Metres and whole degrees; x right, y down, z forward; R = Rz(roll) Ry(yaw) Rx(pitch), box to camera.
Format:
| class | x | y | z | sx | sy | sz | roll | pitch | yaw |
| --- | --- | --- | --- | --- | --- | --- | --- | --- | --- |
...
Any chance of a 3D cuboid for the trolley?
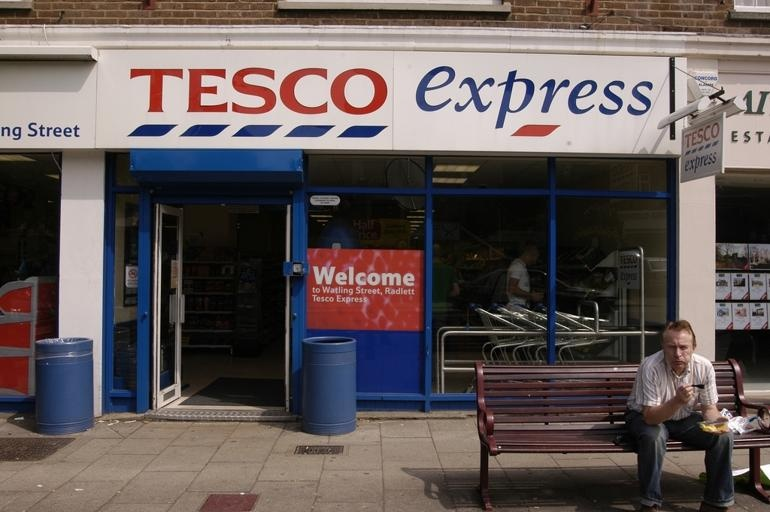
| class | x | y | z | sx | sy | sz | roll | pitch | yaw |
| --- | --- | --- | --- | --- | --- | --- | --- | --- | --- |
| trolley | 2.201 | 1.334 | 13.835 | 2.871 | 1.096 | 0.880 | 0 | 4 | -8 |

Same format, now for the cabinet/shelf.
| class | x | y | z | sx | sy | sz | roll | pitch | yaw |
| --- | --- | --- | --- | --- | --- | --- | --- | --- | --- |
| cabinet/shelf | -3.226 | 0.985 | 17.348 | 1.591 | 1.611 | 0.667 | -1 | 0 | 5 |
